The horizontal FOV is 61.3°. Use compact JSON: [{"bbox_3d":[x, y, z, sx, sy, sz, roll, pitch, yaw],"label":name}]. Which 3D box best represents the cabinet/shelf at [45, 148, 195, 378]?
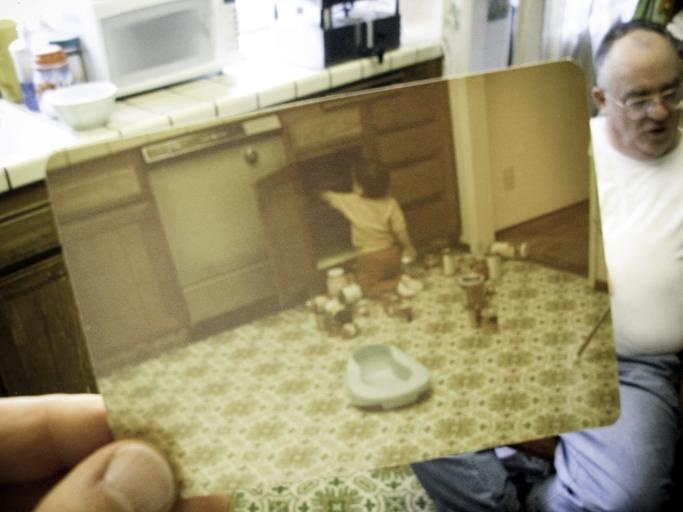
[{"bbox_3d":[-0.397,0.015,1.026,0.184,0.361,0.166,-15,32,-15],"label":"cabinet/shelf"}]

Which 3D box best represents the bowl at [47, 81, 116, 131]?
[{"bbox_3d":[-0.737,-0.435,1.664,0.160,0.073,0.154,-4,33,2],"label":"bowl"}]
